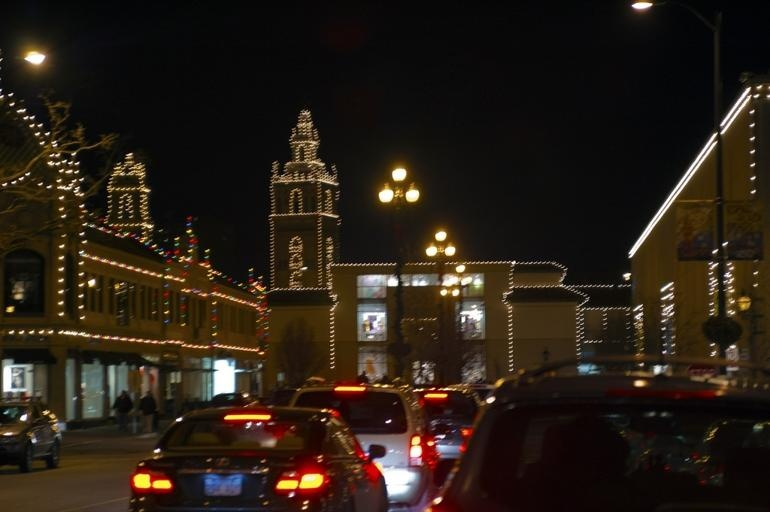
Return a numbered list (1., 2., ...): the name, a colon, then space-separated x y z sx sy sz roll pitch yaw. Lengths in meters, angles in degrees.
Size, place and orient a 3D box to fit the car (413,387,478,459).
1. car: 1.306 3.636 26.609 1.734 1.129 2.755 0 3 4
